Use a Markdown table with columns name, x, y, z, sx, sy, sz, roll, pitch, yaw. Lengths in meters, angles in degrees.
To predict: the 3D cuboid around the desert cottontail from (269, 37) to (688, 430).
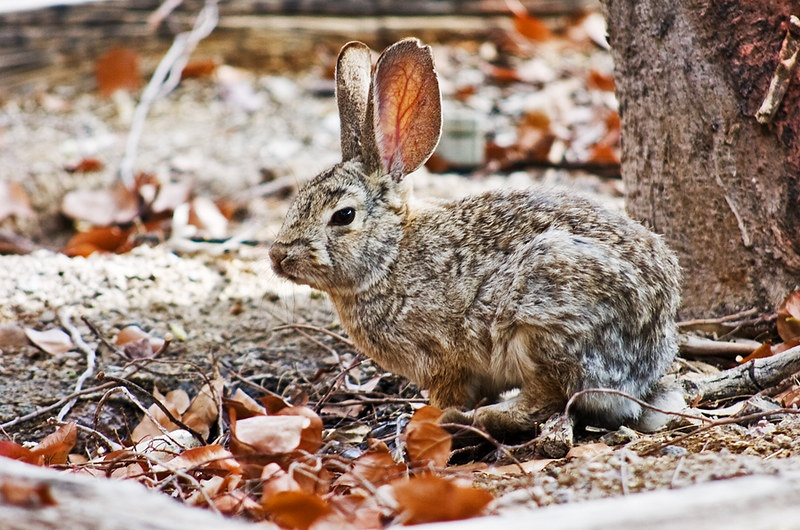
| name | x | y | z | sx | sy | sz | roll | pitch | yaw |
| --- | --- | --- | --- | --- | --- | --- | --- | --- | --- |
| desert cottontail | 0.439 | -0.056 | 5.316 | 2.309 | 1.444 | 1.232 | 30 | 52 | 21 |
